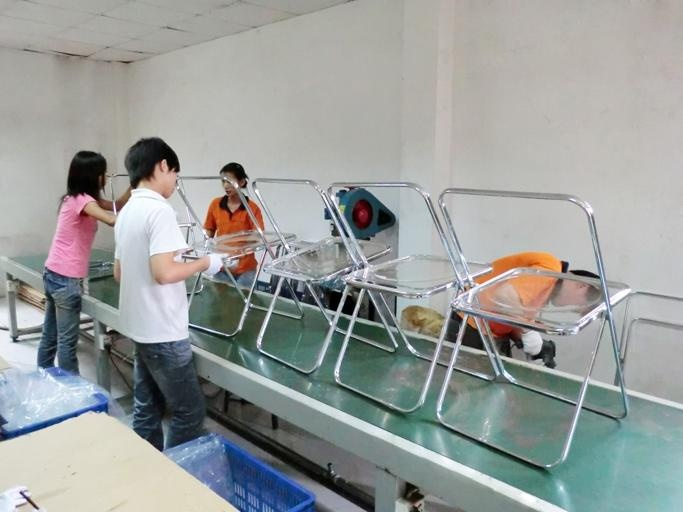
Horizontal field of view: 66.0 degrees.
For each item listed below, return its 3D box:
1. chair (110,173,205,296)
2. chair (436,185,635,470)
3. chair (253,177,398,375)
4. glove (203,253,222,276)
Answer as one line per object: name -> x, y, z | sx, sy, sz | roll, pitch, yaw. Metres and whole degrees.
chair -> -0.793, -0.103, 2.464 | 0.208, 0.452, 0.432 | -14, 18, -38
chair -> 0.746, 0.214, 2.104 | 0.800, 0.966, 0.656 | 9, 15, 29
chair -> -0.084, 0.051, 2.611 | 0.553, 0.919, 0.578 | 10, 16, 37
glove -> -0.639, 0.034, 2.656 | 0.077, 0.101, 0.099 | 10, 42, -16
